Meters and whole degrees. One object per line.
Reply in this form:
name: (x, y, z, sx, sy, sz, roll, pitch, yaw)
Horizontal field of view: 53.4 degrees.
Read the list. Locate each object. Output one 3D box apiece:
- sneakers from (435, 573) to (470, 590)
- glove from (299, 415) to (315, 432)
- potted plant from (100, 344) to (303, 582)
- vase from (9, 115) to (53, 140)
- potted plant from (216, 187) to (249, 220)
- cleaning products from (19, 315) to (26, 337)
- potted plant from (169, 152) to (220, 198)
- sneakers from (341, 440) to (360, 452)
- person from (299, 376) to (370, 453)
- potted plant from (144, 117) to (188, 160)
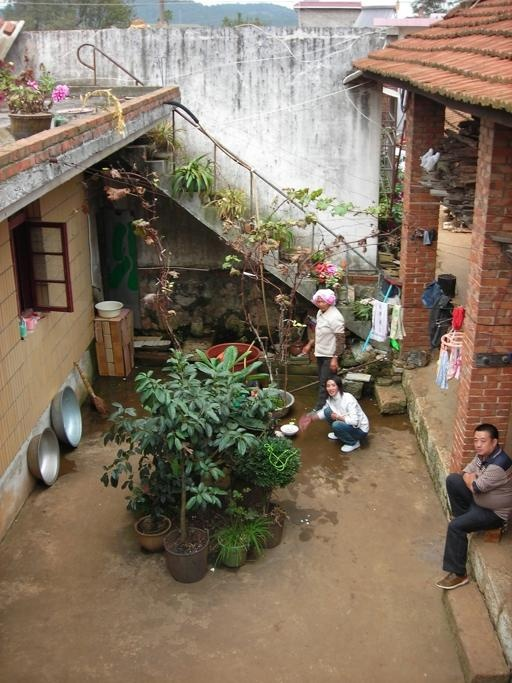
sneakers: (1.378, 1.682, 3.577, 0.262, 0.099, 0.094, -6, 10, 12)
glove: (0.609, 0.980, 6.057, 0.154, 0.159, 0.308, -17, -10, -22)
potted plant: (-0.486, 0.849, 4.231, 1.420, 1.649, 1.543, -4, 14, -16)
vase: (-1.676, -1.590, 3.791, 0.289, 0.207, 0.232, -5, 14, -20)
potted plant: (-0.382, -1.934, 7.236, 0.404, 0.460, 0.506, -1, 13, -4)
cleaning products: (-2.214, -0.115, 4.809, 0.050, 0.195, 0.188, -5, 14, -19)
potted plant: (-0.827, -2.276, 7.190, 0.711, 0.475, 0.651, 2, 35, -1)
sneakers: (1.083, 1.198, 5.817, 0.224, 0.084, 0.092, -11, 20, -23)
person: (0.936, 0.790, 5.794, 0.628, 0.874, 0.567, 9, 16, 32)
potted plant: (-1.389, -3.002, 7.732, 0.715, 0.722, 0.643, -10, 32, -20)
